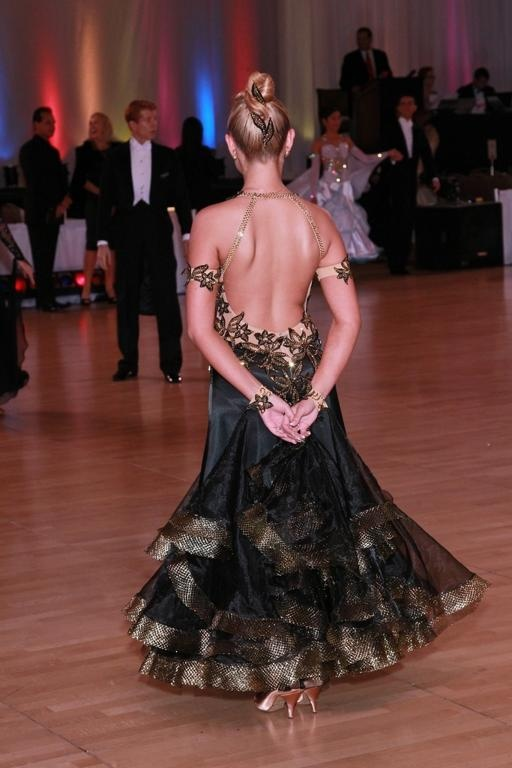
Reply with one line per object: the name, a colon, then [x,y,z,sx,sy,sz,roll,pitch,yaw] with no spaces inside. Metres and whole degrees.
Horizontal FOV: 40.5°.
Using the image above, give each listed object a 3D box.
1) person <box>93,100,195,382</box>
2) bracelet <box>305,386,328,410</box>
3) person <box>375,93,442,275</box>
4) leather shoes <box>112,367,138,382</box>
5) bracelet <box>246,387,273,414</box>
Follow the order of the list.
person: [-0.836,-1.065,5.273,0.714,2.161,0.535,-4,6,-6]
bracelet: [0.108,0.033,1.279,0.033,0.043,0.017,-38,0,-40]
person: [2.359,-3.020,10.779,0.899,2.616,0.897,-2,7,11]
leather shoes: [-1.047,-0.068,5.582,0.080,0.098,0.237,3,6,15]
bracelet: [0.012,0.030,1.215,0.059,0.057,0.037,0,-8,1]
